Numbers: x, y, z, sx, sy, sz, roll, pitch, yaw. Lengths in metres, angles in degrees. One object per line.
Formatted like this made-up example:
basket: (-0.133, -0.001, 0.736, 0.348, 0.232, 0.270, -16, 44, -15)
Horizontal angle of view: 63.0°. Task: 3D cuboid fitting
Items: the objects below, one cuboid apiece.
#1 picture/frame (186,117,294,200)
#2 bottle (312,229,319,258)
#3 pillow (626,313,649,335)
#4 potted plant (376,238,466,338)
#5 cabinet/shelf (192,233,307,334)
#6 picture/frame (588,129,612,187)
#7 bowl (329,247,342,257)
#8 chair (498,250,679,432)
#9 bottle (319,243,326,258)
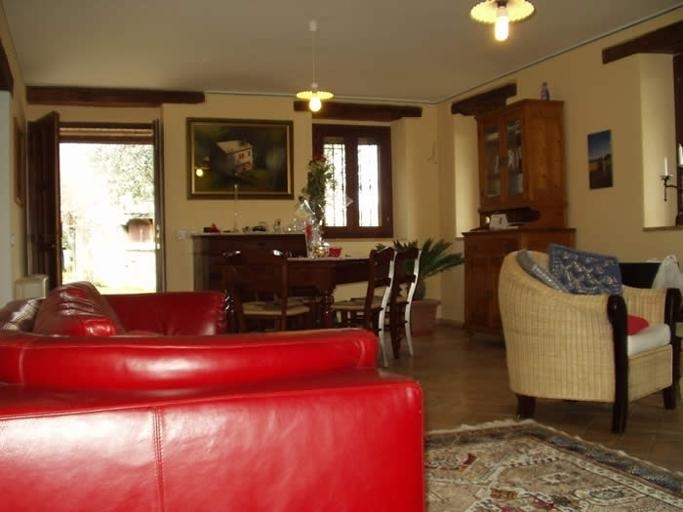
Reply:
picture/frame: (-1.232, -1.149, 6.486, 0.943, 0.719, 0.070, 1, -3, -16)
bottle: (-0.204, -0.113, 4.456, 0.067, 0.224, 0.149, -1, 2, -3)
pillow: (1.634, 0.379, 3.086, 0.130, 0.045, 0.140, -11, 12, -35)
potted plant: (0.993, 0.346, 6.779, 1.017, 1.031, 1.025, -2, 5, -24)
cabinet/shelf: (-0.894, 0.240, 5.240, 0.902, 0.894, 0.602, 0, -2, -13)
picture/frame: (2.391, -0.884, 5.137, 0.046, 0.524, 0.260, -2, 2, -20)
bowl: (-0.051, -0.032, 4.571, 0.099, 0.075, 0.101, -3, 4, 0)
chair: (1.446, 0.495, 3.311, 0.887, 1.048, 1.114, -4, -5, 36)
bottle: (-0.143, -0.046, 4.440, 0.076, 0.136, 0.076, 0, 1, 0)
